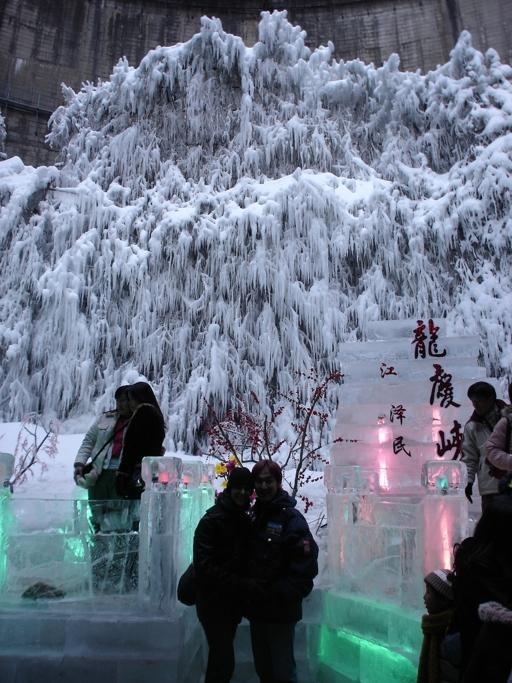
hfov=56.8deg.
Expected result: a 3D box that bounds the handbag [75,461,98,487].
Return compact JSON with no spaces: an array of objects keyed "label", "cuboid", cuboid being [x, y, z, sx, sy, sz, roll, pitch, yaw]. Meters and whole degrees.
[{"label":"handbag","cuboid":[-0.976,0.778,2.761,0.102,0.157,0.062,13,-2,20]}]

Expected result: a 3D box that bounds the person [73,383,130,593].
[{"label":"person","cuboid":[-0.849,0.758,2.649,0.304,1.062,0.678,3,-9,-20]}]
